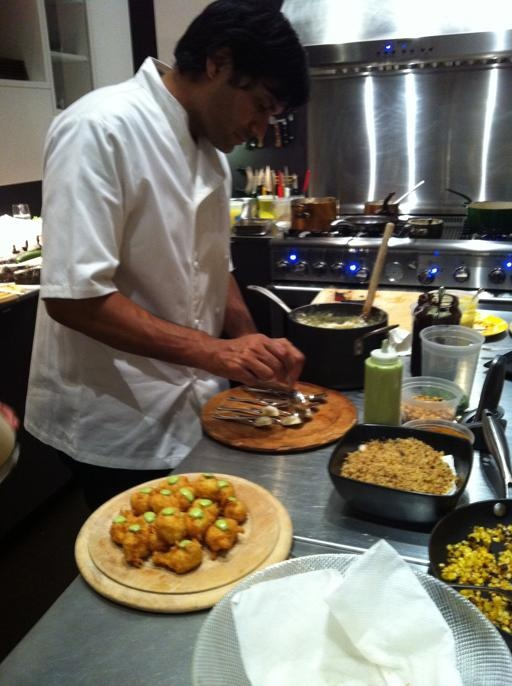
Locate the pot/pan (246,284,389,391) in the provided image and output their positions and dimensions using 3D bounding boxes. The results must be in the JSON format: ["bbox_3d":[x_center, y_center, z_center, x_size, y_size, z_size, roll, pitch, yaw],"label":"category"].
[{"bbox_3d":[0.108,-0.032,1.238,0.399,0.146,0.188,14,25,42],"label":"pot/pan"}]

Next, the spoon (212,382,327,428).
[{"bbox_3d":[0.022,0.127,1.070,0.145,0.020,0.096,3,22,30],"label":"spoon"}]
